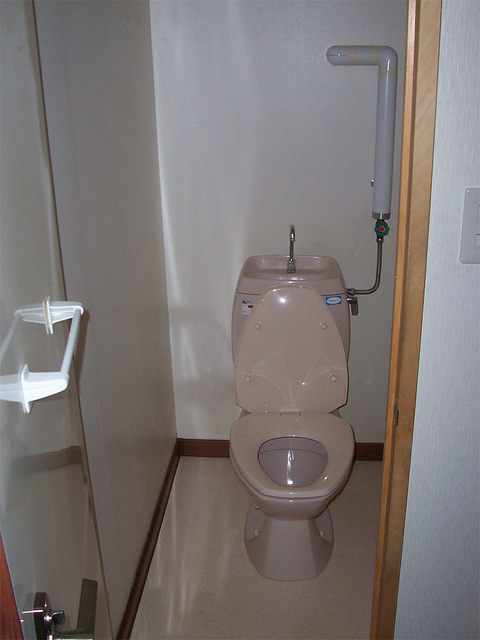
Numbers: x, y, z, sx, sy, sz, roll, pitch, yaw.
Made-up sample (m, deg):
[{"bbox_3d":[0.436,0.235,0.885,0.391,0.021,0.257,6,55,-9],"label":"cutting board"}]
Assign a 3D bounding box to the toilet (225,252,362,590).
[{"bbox_3d":[0.168,0.323,1.772,0.302,0.914,0.738,-1,27,1],"label":"toilet"}]
